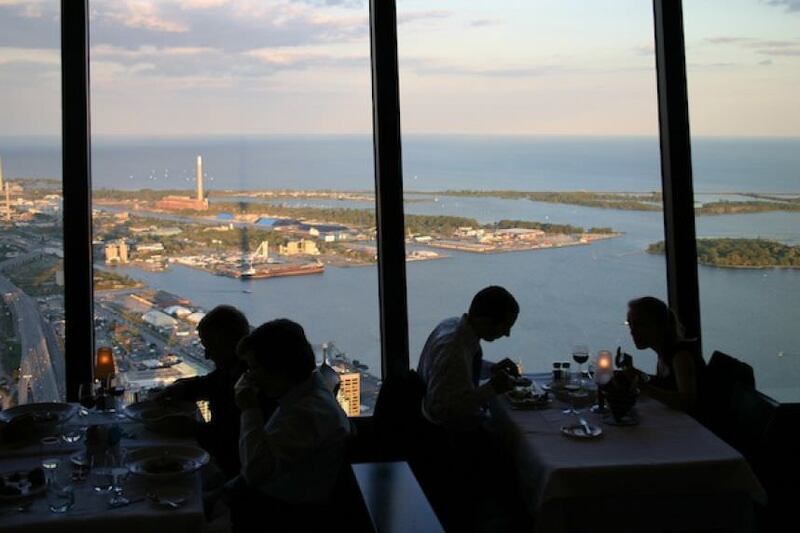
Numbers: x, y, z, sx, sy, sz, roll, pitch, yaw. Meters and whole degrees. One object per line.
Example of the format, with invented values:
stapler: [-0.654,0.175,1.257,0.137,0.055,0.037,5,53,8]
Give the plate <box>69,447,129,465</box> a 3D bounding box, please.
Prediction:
plate: [-1.415,0.875,3.051,0.162,0.030,0.155,1,0,1]

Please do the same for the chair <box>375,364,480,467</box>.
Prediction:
chair: [0.034,0.788,3.481,0.344,0.437,0.274,-1,3,-3]

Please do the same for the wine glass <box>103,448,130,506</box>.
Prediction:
wine glass: [-1.235,0.929,2.904,0.128,0.272,0.128,-5,14,-18]
